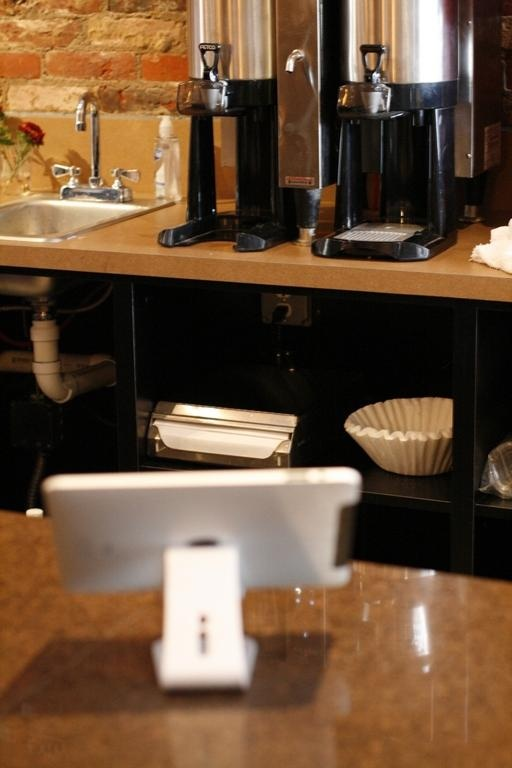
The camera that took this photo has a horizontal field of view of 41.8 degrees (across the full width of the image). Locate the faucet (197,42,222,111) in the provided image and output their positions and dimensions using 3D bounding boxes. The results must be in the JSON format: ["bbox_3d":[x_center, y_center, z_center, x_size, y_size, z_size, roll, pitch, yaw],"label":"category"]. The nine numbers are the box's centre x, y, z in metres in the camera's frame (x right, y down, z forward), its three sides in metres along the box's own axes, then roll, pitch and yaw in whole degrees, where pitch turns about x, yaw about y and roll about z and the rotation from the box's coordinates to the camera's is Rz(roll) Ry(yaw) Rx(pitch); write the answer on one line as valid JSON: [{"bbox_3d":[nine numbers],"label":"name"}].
[{"bbox_3d":[-0.093,-0.621,1.356,0.041,0.129,0.039,10,27,18],"label":"faucet"}]

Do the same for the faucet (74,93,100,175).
[{"bbox_3d":[-0.500,-0.725,1.989,0.075,0.246,0.253,-3,9,-14],"label":"faucet"}]

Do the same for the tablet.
[{"bbox_3d":[-0.034,0.114,0.445,0.192,0.147,0.058,-2,34,-5],"label":"tablet"}]

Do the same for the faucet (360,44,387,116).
[{"bbox_3d":[0.208,-0.543,1.232,0.045,0.144,0.059,-18,25,-36],"label":"faucet"}]

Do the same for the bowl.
[{"bbox_3d":[0.303,0.081,1.492,0.216,0.177,0.285,15,24,39],"label":"bowl"}]
